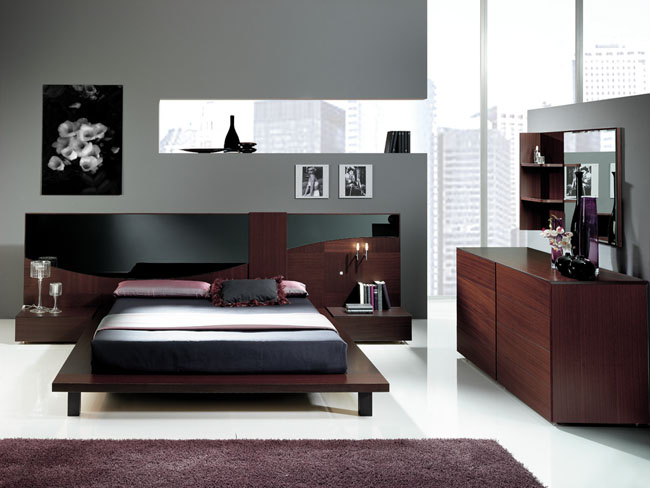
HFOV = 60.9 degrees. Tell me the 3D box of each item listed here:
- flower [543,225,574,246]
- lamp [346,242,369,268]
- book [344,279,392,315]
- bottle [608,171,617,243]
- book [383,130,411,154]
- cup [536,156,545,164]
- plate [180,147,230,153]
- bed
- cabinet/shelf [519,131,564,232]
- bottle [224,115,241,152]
[{"bbox_3d":[1.716,-0.059,4.071,0.145,0.083,0.153,5,-1,4],"label":"flower"},{"bbox_3d":[0.357,0.126,6.069,0.242,0.301,0.080,1,6,5],"label":"lamp"},{"bbox_3d":[0.456,0.555,5.803,0.395,0.428,0.316,2,6,5],"label":"book"},{"bbox_3d":[2.048,-0.260,3.940,0.043,0.515,0.092,1,6,6],"label":"bottle"},{"bbox_3d":[0.851,-1.138,6.457,0.313,0.337,0.247,2,2,17],"label":"book"},{"bbox_3d":[1.956,-0.771,5.044,0.044,0.086,0.081,1,-3,4],"label":"cup"},{"bbox_3d":[-1.387,-1.065,6.296,0.553,0.074,0.291,0,7,-1],"label":"plate"},{"bbox_3d":[-0.819,0.729,4.633,2.460,0.594,2.060,0,7,-2],"label":"bed"},{"bbox_3d":[1.970,-0.408,5.066,0.376,1.260,0.289,0,1,19],"label":"cabinet/shelf"},{"bbox_3d":[-1.065,-1.264,6.315,0.186,0.412,0.138,-1,6,-11],"label":"bottle"}]
